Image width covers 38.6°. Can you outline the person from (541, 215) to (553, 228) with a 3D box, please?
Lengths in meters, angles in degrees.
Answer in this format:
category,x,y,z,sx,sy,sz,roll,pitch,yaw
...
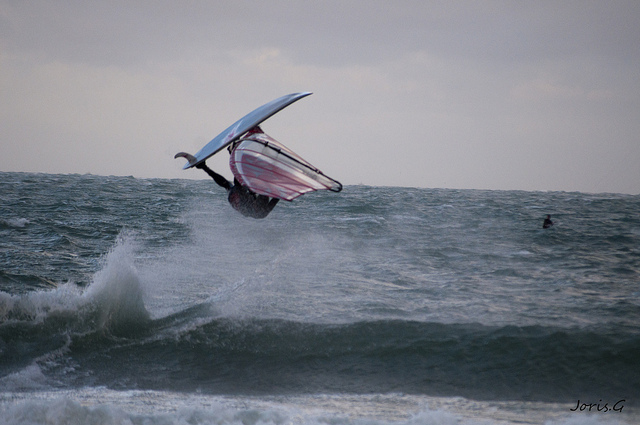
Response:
category,x,y,z,sx,sy,sz,roll,pitch,yaw
person,11.930,0.486,47.797,0.373,0.645,1.204,0,3,11
